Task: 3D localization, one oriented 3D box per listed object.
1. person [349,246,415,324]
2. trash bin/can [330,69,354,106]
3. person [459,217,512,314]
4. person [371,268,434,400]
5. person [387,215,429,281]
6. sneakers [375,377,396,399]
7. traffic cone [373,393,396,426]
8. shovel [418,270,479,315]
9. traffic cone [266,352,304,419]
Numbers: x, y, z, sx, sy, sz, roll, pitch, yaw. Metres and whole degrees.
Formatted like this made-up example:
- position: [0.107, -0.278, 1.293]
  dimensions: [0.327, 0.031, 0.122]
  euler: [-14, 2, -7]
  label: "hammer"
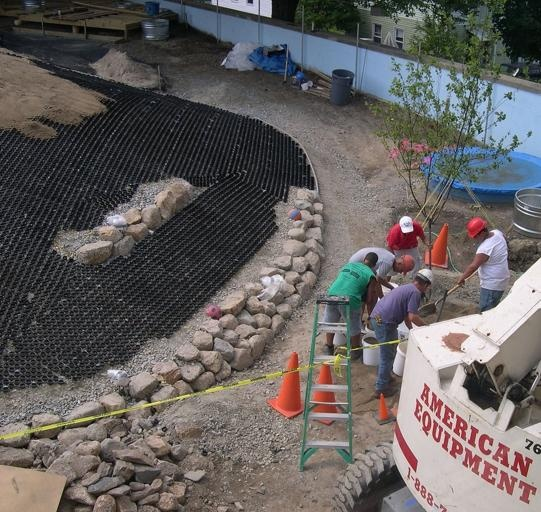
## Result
- position: [1.560, 0.393, 7.431]
  dimensions: [0.507, 1.040, 0.731]
  euler: [1, 31, -43]
  label: "person"
- position: [2.113, -5.006, 15.458]
  dimensions: [0.664, 0.972, 0.755]
  euler: [7, 27, 5]
  label: "trash bin/can"
- position: [2.918, 0.310, 7.125]
  dimensions: [0.719, 1.562, 0.761]
  euler: [6, 18, 26]
  label: "person"
- position: [1.686, 0.856, 6.120]
  dimensions: [0.794, 1.370, 0.817]
  euler: [18, 22, 10]
  label: "person"
- position: [2.193, -0.107, 8.166]
  dimensions: [0.648, 1.207, 0.485]
  euler: [-7, 41, 12]
  label: "person"
- position: [1.372, 1.578, 6.195]
  dimensions: [0.112, 0.184, 0.275]
  euler: [33, 63, 30]
  label: "sneakers"
- position: [1.327, 1.757, 5.989]
  dimensions: [0.328, 0.293, 0.307]
  euler: [0, 18, 26]
  label: "traffic cone"
- position: [2.869, 0.642, 8.483]
  dimensions: [2.470, 0.507, 0.211]
  euler: [-12, 72, -58]
  label: "shovel"
- position: [0.263, 1.486, 6.147]
  dimensions: [0.615, 0.626, 0.574]
  euler: [7, 6, 40]
  label: "traffic cone"
